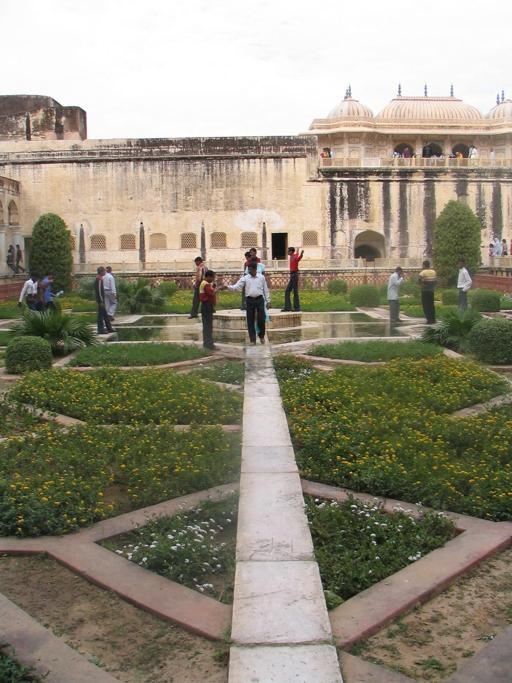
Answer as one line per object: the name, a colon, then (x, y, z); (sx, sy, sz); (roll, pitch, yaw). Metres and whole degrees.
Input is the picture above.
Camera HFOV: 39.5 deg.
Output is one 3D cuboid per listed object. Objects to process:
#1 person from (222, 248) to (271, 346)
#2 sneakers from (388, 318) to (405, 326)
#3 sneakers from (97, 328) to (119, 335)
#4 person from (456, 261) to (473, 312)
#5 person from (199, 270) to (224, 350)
person: (-0.058, -0.608, 10.412); (0.495, 1.276, 0.989); (-1, 5, 1)
sneakers: (2.935, -0.426, 14.789); (0.419, 0.171, 0.143); (-1, 3, 43)
sneakers: (-2.789, -0.210, 13.531); (0.354, 0.230, 0.118); (-3, 0, 16)
person: (4.410, -1.186, 15.162); (0.245, 0.968, 1.255); (0, 5, 16)
person: (-0.673, -0.456, 10.309); (0.219, 1.148, 0.733); (-1, 5, -4)
